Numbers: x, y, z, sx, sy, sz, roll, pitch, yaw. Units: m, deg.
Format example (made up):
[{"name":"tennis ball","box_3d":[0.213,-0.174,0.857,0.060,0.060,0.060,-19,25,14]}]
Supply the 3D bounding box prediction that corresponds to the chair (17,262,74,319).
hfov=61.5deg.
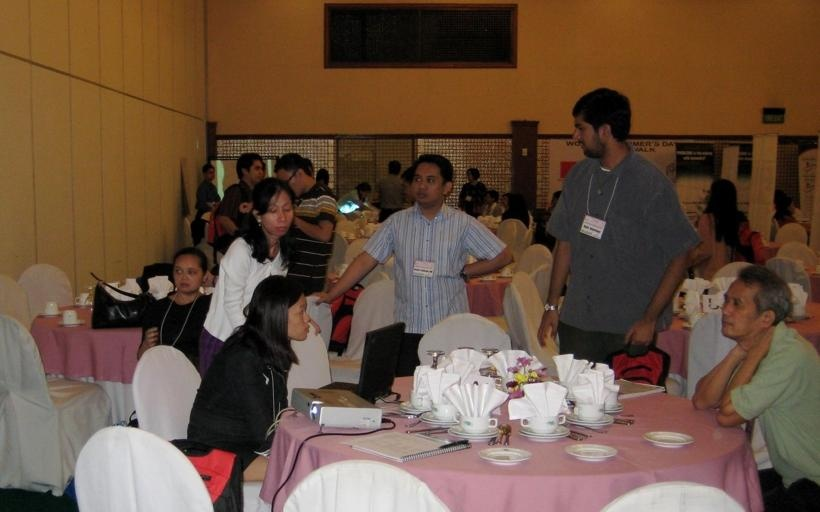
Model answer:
[{"name":"chair","box_3d":[-3.505,0.354,6.724,0.490,0.609,0.651,9,-12,-33]}]

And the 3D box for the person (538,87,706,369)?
[{"name":"person","box_3d":[1.290,-0.171,4.308,0.942,1.703,0.515,5,11,24]}]

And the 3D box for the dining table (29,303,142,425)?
[{"name":"dining table","box_3d":[-2.450,0.837,5.500,0.785,0.647,0.829,2,-5,8]}]

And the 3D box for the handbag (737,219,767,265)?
[{"name":"handbag","box_3d":[3.323,-0.122,6.814,0.302,0.453,0.135,-4,-4,-13]}]
